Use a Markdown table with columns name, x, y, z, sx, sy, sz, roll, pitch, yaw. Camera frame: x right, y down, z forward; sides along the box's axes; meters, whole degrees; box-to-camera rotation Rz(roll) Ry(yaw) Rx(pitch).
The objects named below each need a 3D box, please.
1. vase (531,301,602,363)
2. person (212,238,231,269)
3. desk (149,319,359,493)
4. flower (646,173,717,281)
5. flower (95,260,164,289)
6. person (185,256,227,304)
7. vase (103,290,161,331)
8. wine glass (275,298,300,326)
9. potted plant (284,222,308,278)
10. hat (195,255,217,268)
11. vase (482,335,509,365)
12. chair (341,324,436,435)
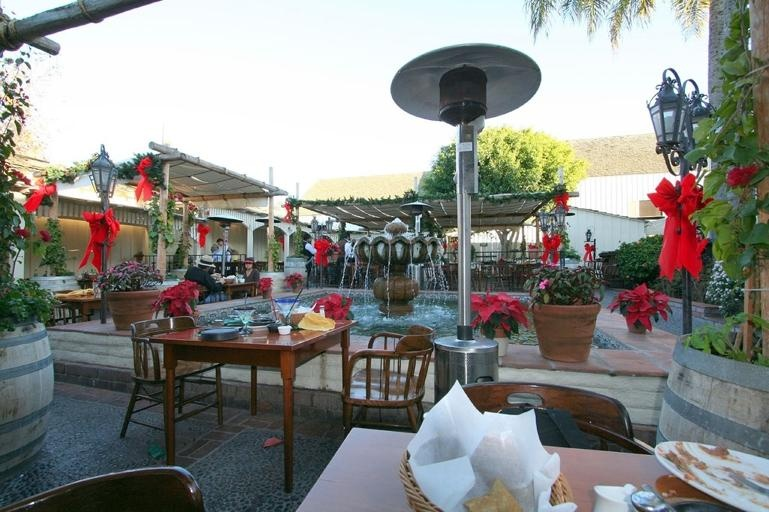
| name | x | y | z | sx | sy | sz | roll | pitch | yaw |
| --- | --- | --- | --- | --- | --- | --- | --- | --- | --- |
| vase | 1.603 | 0.689 | 4.981 | 0.615 | 0.405 | 0.556 | 1 | -8 | -7 |
| person | -4.033 | 0.042 | 13.462 | 0.371 | 0.866 | 0.286 | -2 | 18 | 2 |
| desk | -1.036 | 1.164 | 4.957 | 1.308 | 1.010 | 1.590 | 1 | 1 | 16 |
| flower | 2.089 | -0.201 | 3.887 | 0.354 | 0.730 | 0.379 | 1 | 3 | 29 |
| flower | -3.096 | 0.252 | 6.446 | 0.453 | 0.260 | 0.464 | -1 | -1 | -42 |
| person | -3.102 | 0.511 | 9.605 | 0.591 | 0.858 | 0.757 | -22 | 37 | -39 |
| vase | -2.970 | 0.632 | 6.417 | 0.632 | 0.416 | 0.604 | -5 | -6 | 27 |
| wine glass | -0.881 | 0.498 | 4.887 | 0.282 | 0.238 | 0.195 | 1 | -8 | -8 |
| potted plant | -2.253 | -0.111 | 14.062 | 0.760 | 1.397 | 0.743 | 2 | -1 | -35 |
| hat | -3.979 | 0.138 | 12.113 | 0.608 | 0.196 | 0.636 | 7 | -2 | 3 |
| vase | 1.054 | 0.861 | 4.980 | 0.263 | 0.253 | 0.252 | 1 | -8 | -4 |
| chair | 0.004 | 1.061 | 4.665 | 0.885 | 0.872 | 0.798 | -4 | 6 | -20 |
